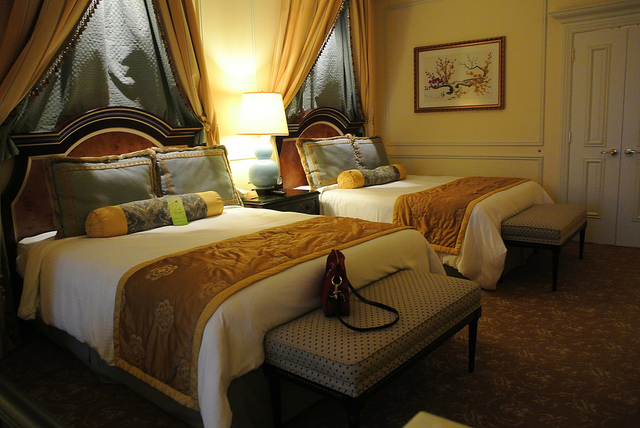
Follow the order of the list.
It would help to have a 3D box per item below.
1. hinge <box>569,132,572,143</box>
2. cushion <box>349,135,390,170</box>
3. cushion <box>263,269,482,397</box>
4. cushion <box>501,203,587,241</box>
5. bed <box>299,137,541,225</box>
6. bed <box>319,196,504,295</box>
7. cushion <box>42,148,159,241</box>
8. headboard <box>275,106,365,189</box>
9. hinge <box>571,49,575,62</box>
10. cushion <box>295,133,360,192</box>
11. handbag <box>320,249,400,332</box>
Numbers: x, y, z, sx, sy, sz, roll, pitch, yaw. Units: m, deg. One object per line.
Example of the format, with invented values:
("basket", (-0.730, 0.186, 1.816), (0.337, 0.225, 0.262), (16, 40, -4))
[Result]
("hinge", (3.063, -0.941, 5.229), (0.033, 0.121, 0.019), (-5, 15, 22))
("cushion", (0.621, -0.806, 5.547), (0.520, 0.477, 0.123), (-5, -19, -31))
("cushion", (0.356, 0.669, 2.586), (1.299, 0.284, 0.525), (-16, 15, -35))
("cushion", (2.339, 0.055, 4.419), (0.596, 0.180, 1.141), (8, 18, 40))
("bed", (1.129, -0.440, 5.048), (2.280, 0.737, 1.917), (13, 21, 42))
("bed", (0.939, 0.231, 4.139), (1.438, 0.334, 0.939), (6, 13, 24))
("cushion", (-1.740, -0.196, 3.557), (0.244, 0.616, 0.928), (10, 16, 44))
("headboard", (-0.016, -0.878, 5.771), (0.114, 1.054, 1.708), (25, 28, 39))
("hinge", (3.014, -1.893, 5.094), (0.031, 0.129, 0.015), (-6, 14, 18))
("cushion", (0.076, -0.596, 5.164), (0.800, 0.541, 0.090), (-13, -12, -34))
("handbag", (0.235, 0.423, 2.564), (0.482, 0.418, 0.406), (-2, 11, -14))
